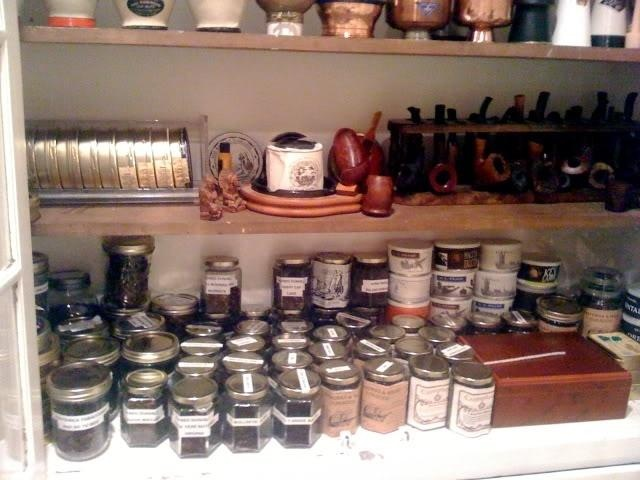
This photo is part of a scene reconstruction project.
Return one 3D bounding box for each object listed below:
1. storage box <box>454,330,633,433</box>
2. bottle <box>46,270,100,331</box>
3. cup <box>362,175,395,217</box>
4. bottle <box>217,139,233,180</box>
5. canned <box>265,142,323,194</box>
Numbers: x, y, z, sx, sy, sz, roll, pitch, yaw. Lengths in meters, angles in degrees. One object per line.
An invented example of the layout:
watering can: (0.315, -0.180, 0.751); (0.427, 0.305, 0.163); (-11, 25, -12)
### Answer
storage box: (0.627, 0.388, 1.570); (0.407, 0.192, 0.210); (-4, 17, -7)
bottle: (-0.721, 0.177, 1.605); (0.153, 0.138, 0.157); (0, 7, -8)
cup: (0.164, -0.124, 1.495); (0.101, 0.108, 0.085); (-7, 18, -15)
bottle: (-0.272, -0.233, 1.558); (0.034, 0.084, 0.097); (-5, 17, -6)
canned: (-0.072, -0.195, 1.439); (0.155, 0.110, 0.142); (-1, 12, -5)
